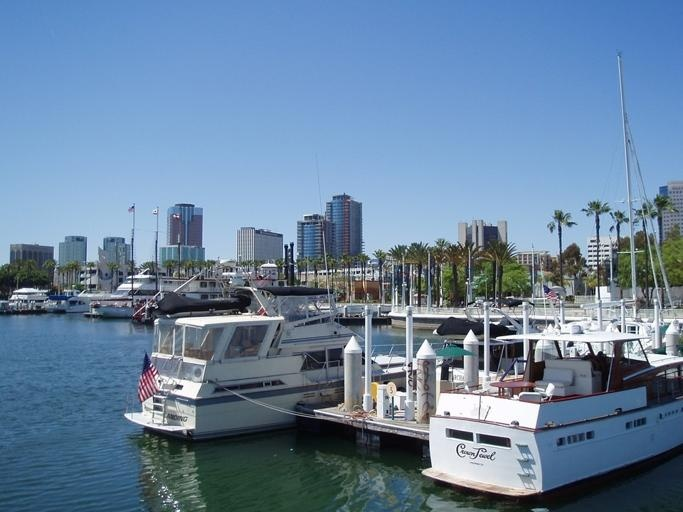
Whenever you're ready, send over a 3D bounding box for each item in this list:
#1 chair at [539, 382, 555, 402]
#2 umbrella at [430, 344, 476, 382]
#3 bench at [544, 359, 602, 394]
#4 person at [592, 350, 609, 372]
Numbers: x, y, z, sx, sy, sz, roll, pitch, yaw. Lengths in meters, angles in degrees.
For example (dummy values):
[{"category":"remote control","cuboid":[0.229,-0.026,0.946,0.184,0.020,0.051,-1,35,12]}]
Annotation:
[{"category":"chair","cuboid":[7.011,4.551,23.460,0.386,0.616,1.553,-2,3,17]},{"category":"umbrella","cuboid":[5.017,4.584,30.841,1.650,1.351,1.549,2,-20,-5]},{"category":"bench","cuboid":[7.568,4.315,24.612,0.848,1.074,1.585,8,-8,-28]},{"category":"person","cuboid":[9.136,3.717,24.504,0.521,0.950,0.503,-1,14,22]}]
